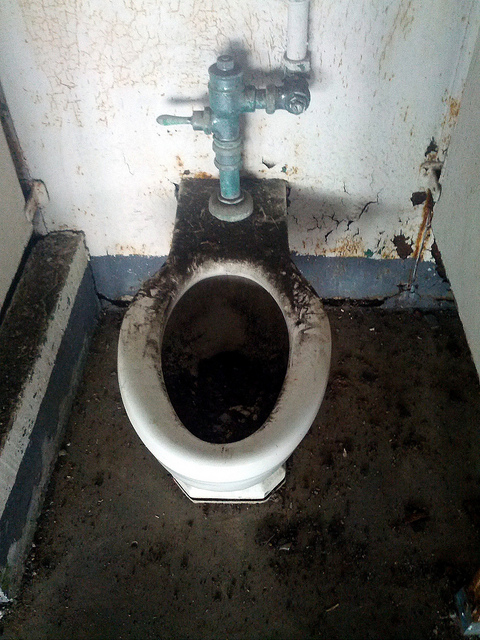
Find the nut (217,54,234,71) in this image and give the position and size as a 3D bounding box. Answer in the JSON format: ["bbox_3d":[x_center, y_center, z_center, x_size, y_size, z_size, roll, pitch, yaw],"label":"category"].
[{"bbox_3d":[-0.026,-0.485,1.020,0.031,0.016,0.032,-3,47,0],"label":"nut"}]

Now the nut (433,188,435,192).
[{"bbox_3d":[0.499,-0.337,1.395,0.002,0.008,0.010,1,1,8],"label":"nut"}]

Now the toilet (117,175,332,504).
[{"bbox_3d":[-0.042,-0.062,1.203,0.405,0.535,0.885,0,76,2],"label":"toilet"}]
